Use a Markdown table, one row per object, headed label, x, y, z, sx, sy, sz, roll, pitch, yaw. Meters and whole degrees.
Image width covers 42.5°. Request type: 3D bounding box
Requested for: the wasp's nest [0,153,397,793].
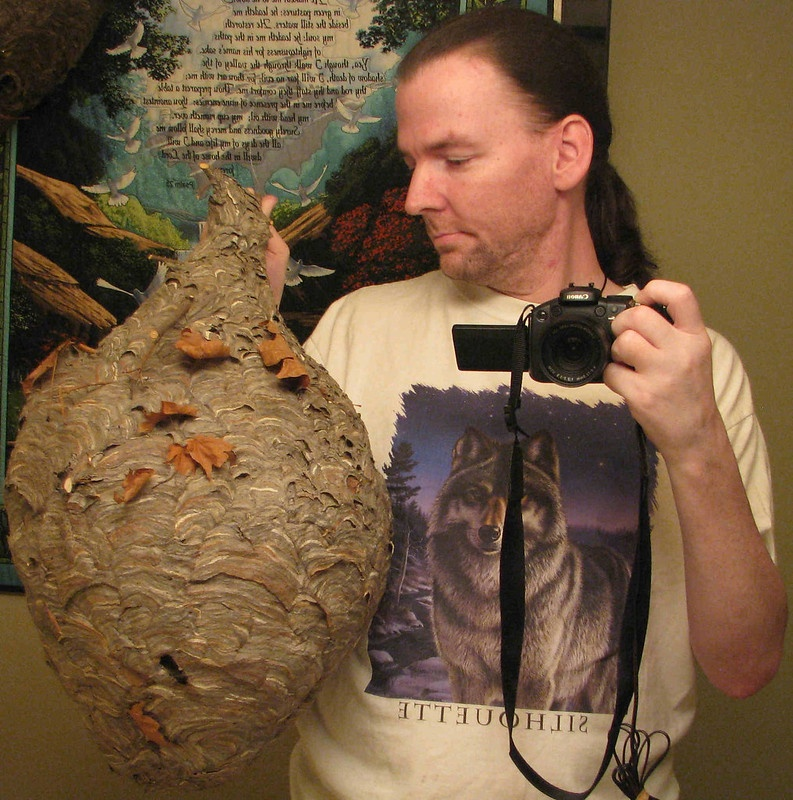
| label | x | y | z | sx | sy | sz | roll | pitch | yaw |
| --- | --- | --- | --- | --- | --- | --- | --- | --- | --- |
| wasp's nest | -0.316 | 0.157 | 1.604 | 0.636 | 0.741 | 0.485 | -28 | 33 | -26 |
